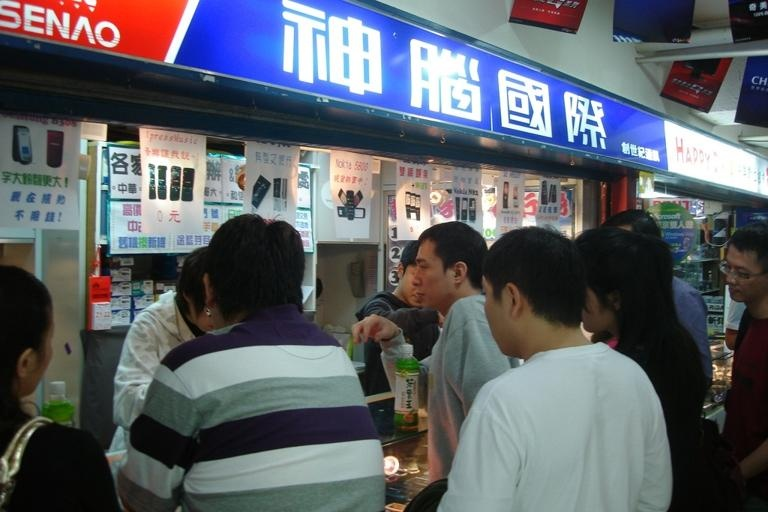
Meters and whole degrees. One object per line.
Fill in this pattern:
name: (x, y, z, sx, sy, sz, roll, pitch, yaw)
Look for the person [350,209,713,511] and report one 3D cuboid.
person: (0.753, 0.438, 2.163, 1.135, 0.737, 0.535, 0, 2, -44)
